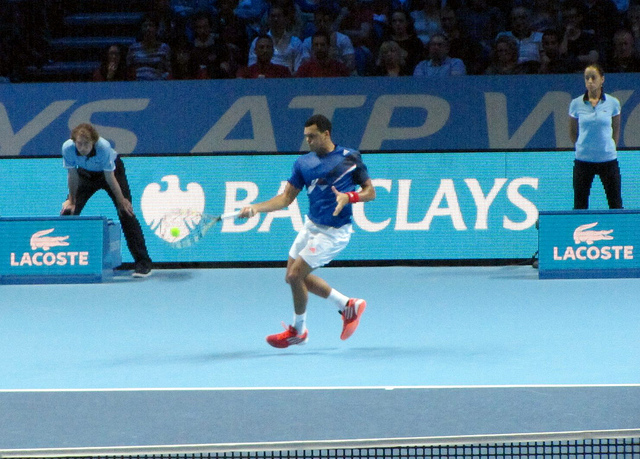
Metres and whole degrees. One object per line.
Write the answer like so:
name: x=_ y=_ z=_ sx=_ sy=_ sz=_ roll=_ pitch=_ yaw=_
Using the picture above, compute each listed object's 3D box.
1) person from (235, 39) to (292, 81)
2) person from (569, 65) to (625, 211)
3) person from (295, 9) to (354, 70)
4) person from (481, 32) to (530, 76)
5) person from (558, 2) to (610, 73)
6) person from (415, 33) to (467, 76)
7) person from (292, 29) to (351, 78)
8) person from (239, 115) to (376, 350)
person: x=-0.823 y=-2.590 z=20.917 sx=1.040 sy=0.684 sz=0.500 roll=1 pitch=-3 yaw=5
person: x=3.815 y=-1.134 z=19.159 sx=0.675 sy=1.628 sz=0.820 roll=-2 pitch=-4 yaw=10
person: x=0.065 y=-2.907 z=21.149 sx=0.918 sy=1.171 sz=0.674 roll=-4 pitch=-10 yaw=14
person: x=2.881 y=-2.672 z=21.197 sx=0.922 sy=0.592 sz=0.409 roll=2 pitch=6 yaw=33
person: x=4.018 y=-2.976 z=21.031 sx=0.648 sy=1.102 sz=0.310 roll=-4 pitch=-5 yaw=32
person: x=1.839 y=-2.682 z=21.137 sx=0.975 sy=0.686 sz=0.411 roll=3 pitch=4 yaw=42
person: x=0.009 y=-2.667 z=20.951 sx=0.897 sy=0.751 sz=0.431 roll=0 pitch=-9 yaw=0
person: x=-0.022 y=0.016 z=15.575 sx=1.258 sy=2.648 sz=0.941 roll=-1 pitch=-4 yaw=1
